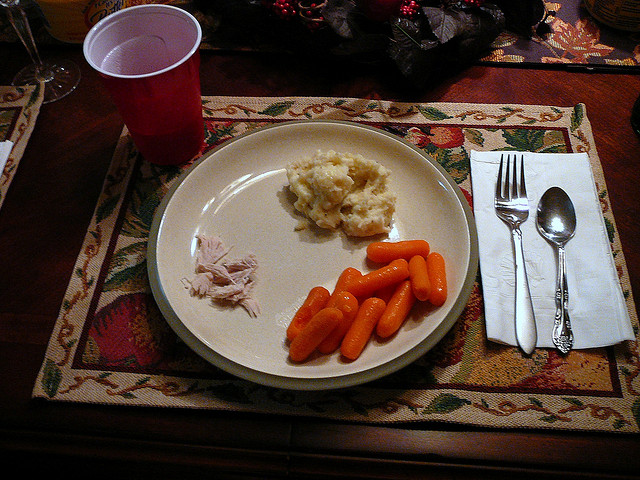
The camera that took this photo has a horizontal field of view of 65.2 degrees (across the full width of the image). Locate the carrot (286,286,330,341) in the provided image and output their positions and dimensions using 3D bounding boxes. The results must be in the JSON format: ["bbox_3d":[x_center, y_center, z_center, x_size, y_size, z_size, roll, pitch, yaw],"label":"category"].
[{"bbox_3d":[-0.027,0.173,1.252,0.159,0.055,0.062,-44,102,-20],"label":"carrot"}]

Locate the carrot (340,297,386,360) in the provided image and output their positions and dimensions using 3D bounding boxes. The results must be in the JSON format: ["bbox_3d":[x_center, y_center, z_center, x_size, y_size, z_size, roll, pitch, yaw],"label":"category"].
[{"bbox_3d":[0.105,0.211,1.248,0.068,0.062,0.169,35,71,-2],"label":"carrot"}]

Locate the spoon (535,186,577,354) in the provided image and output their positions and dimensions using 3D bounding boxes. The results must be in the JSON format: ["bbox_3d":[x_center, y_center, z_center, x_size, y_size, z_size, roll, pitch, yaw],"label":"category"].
[{"bbox_3d":[0.636,0.065,1.377,0.095,0.054,0.471,5,66,0],"label":"spoon"}]

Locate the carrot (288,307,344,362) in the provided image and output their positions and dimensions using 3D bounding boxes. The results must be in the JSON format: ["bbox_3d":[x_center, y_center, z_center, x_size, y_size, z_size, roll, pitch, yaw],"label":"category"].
[{"bbox_3d":[-0.011,0.215,1.170,0.193,0.058,0.062,-43,71,5],"label":"carrot"}]

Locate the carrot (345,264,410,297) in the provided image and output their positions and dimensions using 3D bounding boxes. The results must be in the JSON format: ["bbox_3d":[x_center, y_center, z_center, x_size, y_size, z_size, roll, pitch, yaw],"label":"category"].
[{"bbox_3d":[0.144,0.099,1.277,0.184,0.052,0.055,-19,24,-13],"label":"carrot"}]
